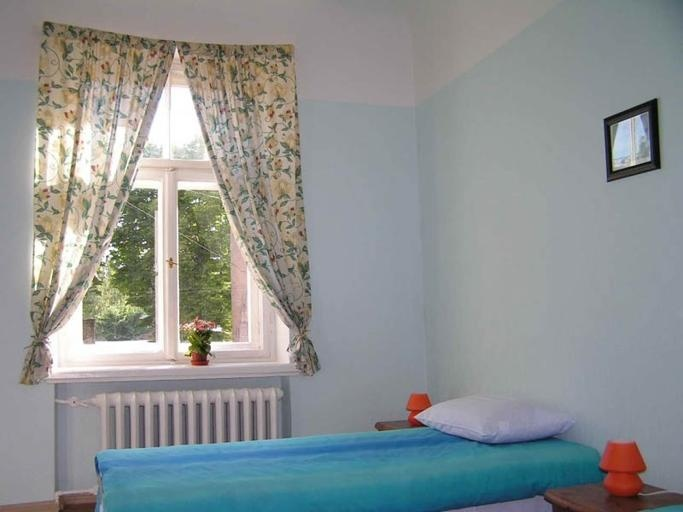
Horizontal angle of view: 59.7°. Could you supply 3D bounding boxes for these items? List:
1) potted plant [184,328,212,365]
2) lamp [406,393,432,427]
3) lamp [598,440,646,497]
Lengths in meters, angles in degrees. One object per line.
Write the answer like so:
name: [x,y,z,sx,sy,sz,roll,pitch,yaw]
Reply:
potted plant: [-1.012,0.618,4.252,0.247,0.287,0.249,-3,-1,-21]
lamp: [0.529,1.027,4.055,0.164,0.207,0.161,-1,-3,-18]
lamp: [1.239,0.950,2.767,0.221,0.267,0.225,0,-5,-9]
